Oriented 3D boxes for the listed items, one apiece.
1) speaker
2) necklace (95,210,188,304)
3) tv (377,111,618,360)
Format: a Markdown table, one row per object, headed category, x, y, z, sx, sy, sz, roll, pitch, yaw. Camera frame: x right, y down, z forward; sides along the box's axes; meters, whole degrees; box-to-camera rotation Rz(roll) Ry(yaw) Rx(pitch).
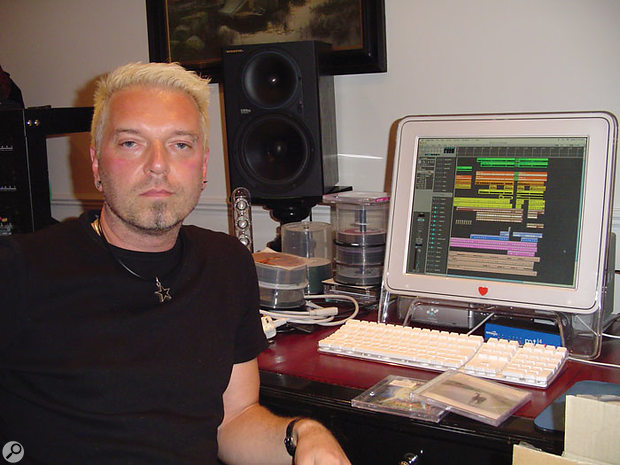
| category | x | y | z | sx | sy | sz | roll | pitch | yaw |
| --- | --- | --- | --- | --- | --- | --- | --- | --- | --- |
| speaker | -0.069 | -0.377 | 1.792 | 0.378 | 0.497 | 0.330 | -1 | 9 | 10 |
| necklace | -0.328 | 0.055 | 1.039 | 0.144 | 0.059 | 0.181 | -11 | 52 | -36 |
| tv | 0.465 | 0.008 | 1.260 | 0.675 | 0.588 | 0.377 | 2 | 0 | 24 |
